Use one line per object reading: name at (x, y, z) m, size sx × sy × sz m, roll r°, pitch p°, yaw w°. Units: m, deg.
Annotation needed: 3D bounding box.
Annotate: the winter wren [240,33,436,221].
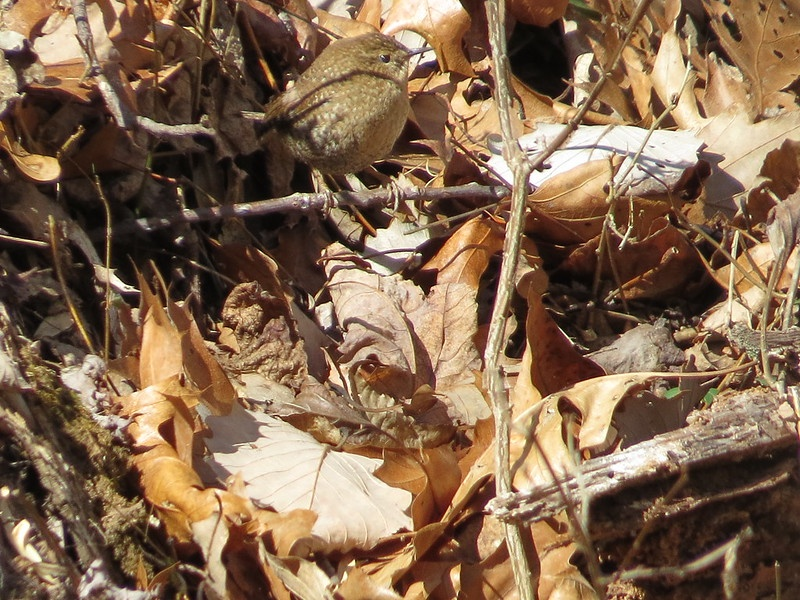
winter wren at (-0.199, -0.552, 3.364) m, size 0.453 × 0.450 × 0.522 m, roll -8°, pitch 3°, yaw -45°
